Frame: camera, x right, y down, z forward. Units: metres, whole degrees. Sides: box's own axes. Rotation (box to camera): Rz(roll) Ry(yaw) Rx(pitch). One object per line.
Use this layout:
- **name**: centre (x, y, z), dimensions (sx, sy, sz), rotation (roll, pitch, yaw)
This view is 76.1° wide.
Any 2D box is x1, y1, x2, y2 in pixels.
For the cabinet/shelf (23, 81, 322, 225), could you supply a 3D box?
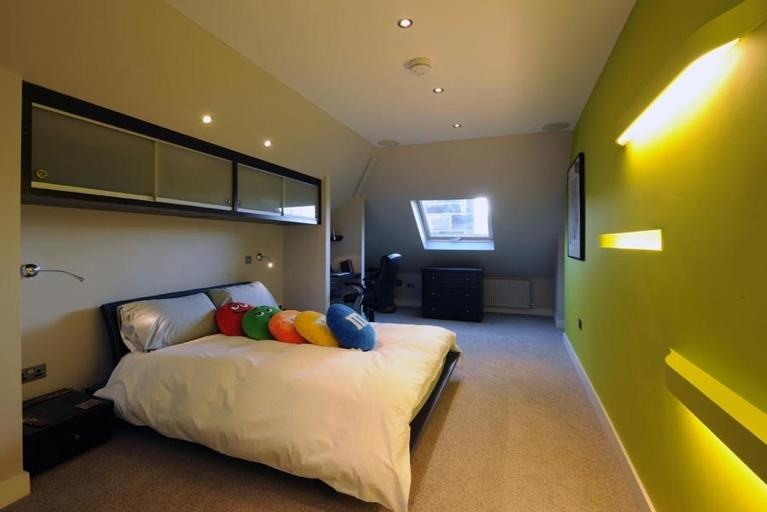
- **cabinet/shelf**: centre (-1.740, -0.791, 4.311), dimensions (0.257, 0.822, 2.450), rotation (0, 1, 37)

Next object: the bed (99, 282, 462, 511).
- **bed**: centre (-0.726, 0.997, 3.594), dimensions (1.683, 0.651, 1.717), rotation (1, 3, 18)

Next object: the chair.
- **chair**: centre (0.027, 0.394, 6.580), dimensions (0.862, 1.029, 0.880), rotation (2, 1, 24)

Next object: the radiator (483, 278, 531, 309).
- **radiator**: centre (1.909, 0.570, 7.639), dimensions (0.684, 0.467, 0.081), rotation (0, 1, 19)

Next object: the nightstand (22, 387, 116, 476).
- **nightstand**: centre (-2.315, 1.244, 3.603), dimensions (0.474, 0.266, 0.494), rotation (5, 7, 10)

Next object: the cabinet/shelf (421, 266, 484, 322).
- **cabinet/shelf**: centre (1.013, 0.579, 7.271), dimensions (0.715, 0.651, 0.300), rotation (-1, -5, 19)

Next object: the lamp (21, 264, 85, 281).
- **lamp**: centre (-2.445, 0.115, 3.519), dimensions (0.212, 0.066, 0.210), rotation (9, -4, -24)
